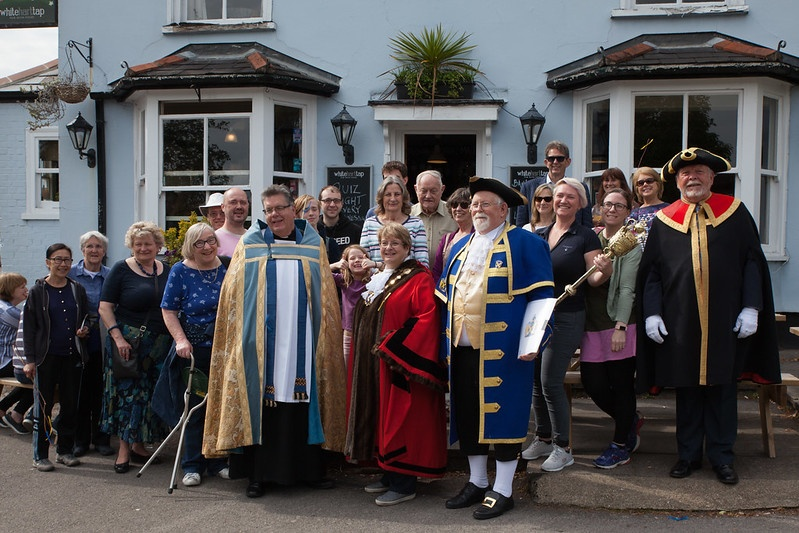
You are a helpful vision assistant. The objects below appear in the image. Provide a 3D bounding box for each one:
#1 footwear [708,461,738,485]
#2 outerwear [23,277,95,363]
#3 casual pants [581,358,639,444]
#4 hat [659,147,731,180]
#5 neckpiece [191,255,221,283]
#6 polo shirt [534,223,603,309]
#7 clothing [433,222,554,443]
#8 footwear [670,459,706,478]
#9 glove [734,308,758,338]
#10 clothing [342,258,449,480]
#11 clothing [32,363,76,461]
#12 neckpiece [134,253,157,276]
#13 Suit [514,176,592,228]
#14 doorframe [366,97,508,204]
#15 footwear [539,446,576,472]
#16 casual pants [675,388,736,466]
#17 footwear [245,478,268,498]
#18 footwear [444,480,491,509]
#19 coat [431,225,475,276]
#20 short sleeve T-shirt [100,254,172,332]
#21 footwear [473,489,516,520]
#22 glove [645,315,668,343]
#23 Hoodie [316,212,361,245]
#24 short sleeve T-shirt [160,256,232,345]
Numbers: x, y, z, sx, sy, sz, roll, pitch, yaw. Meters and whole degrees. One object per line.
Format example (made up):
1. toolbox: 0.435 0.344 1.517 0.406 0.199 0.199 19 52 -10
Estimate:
1. footwear: 3.190 2.021 10.337 0.178 0.173 0.466 -3 -6 6
2. outerwear: -3.744 0.582 11.410 0.824 0.920 0.489 -7 1 -31
3. casual pants: 2.283 1.434 10.786 0.338 0.876 0.439 2 0 -19
4. hat: 3.164 -1.104 11.182 0.647 0.198 0.633 -3 -5 26
5. neckpiece: -2.001 0.027 10.994 0.328 0.157 0.248 2 5 29
6. polo shirt: 1.692 0.017 10.476 0.521 0.906 0.918 3 -2 -38
7. clothing: 0.943 0.653 10.211 1.078 2.111 0.478 1 1 5
8. footwear: 2.903 2.011 10.496 0.411 0.146 0.135 3 -4 -35
9. glove: 3.424 0.550 10.446 0.240 0.284 0.156 3 12 -14
10. clothing: -0.034 0.991 10.457 1.005 2.120 0.486 1 1 2
11. clothing: -3.801 1.550 11.283 0.275 1.070 0.362 -15 -15 29
12. neckpiece: -2.723 -0.053 11.213 0.208 0.256 0.138 -7 21 0
13. Suit: 1.619 -0.661 11.041 0.720 0.555 0.223 4 -3 8
14. doorframe: 0.464 -1.523 13.343 1.753 1.461 0.599 1 5 1
15. footwear: 1.598 1.940 10.662 0.436 0.190 0.155 3 -6 -43
16. casual pants: 3.076 1.528 10.584 0.542 0.325 1.120 2 45 14
17. footwear: -1.438 2.210 10.555 0.174 0.109 0.420 2 7 -2
18. footwear: 0.674 2.236 10.360 0.514 0.188 0.176 -3 0 -16
19. coat: 0.553 -0.149 10.733 0.436 0.540 0.299 20 -8 -28
20. short sleeve T-shirt: -2.800 0.304 11.146 0.922 0.781 0.496 1 0 -35
21. footwear: 0.909 2.285 10.136 0.385 0.249 0.153 0 1 1
22. glove: 2.574 0.609 10.484 0.220 0.268 0.100 4 -26 -9
23. Hoodie: -0.701 -0.411 11.621 0.381 0.453 0.189 -8 -7 -14
24. short sleeve T-shirt: -2.063 0.384 11.110 0.982 0.851 0.520 -2 4 -45
